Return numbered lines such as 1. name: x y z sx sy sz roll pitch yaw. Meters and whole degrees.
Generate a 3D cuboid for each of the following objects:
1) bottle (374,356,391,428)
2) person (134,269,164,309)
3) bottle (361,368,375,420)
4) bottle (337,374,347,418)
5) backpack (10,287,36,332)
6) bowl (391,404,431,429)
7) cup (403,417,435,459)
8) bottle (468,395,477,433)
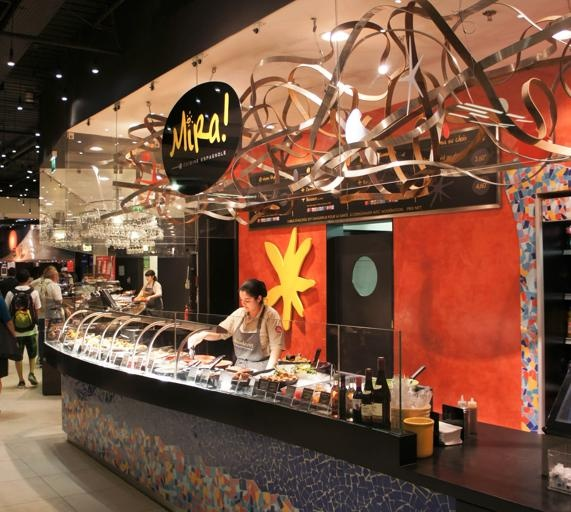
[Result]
1. bottle: 0.470 0.652 2.449 0.079 0.320 0.130 2 7 10
2. person: -2.016 0.510 7.407 0.362 0.552 1.232 -1 7 -16
3. bottle: 0.401 0.680 2.493 0.060 0.269 0.086 2 7 7
4. bottle: 0.291 0.724 2.599 0.041 0.214 0.079 1 7 -1
5. backpack: -4.232 0.857 8.169 0.367 0.678 0.426 -3 8 -33
6. bowl: 0.601 0.772 2.466 0.121 0.101 0.128 0 -4 0
7. cup: 0.634 0.847 2.422 0.147 0.180 0.169 0 2 6
8. bottle: 1.025 0.853 2.784 0.051 0.177 0.226 4 7 21
